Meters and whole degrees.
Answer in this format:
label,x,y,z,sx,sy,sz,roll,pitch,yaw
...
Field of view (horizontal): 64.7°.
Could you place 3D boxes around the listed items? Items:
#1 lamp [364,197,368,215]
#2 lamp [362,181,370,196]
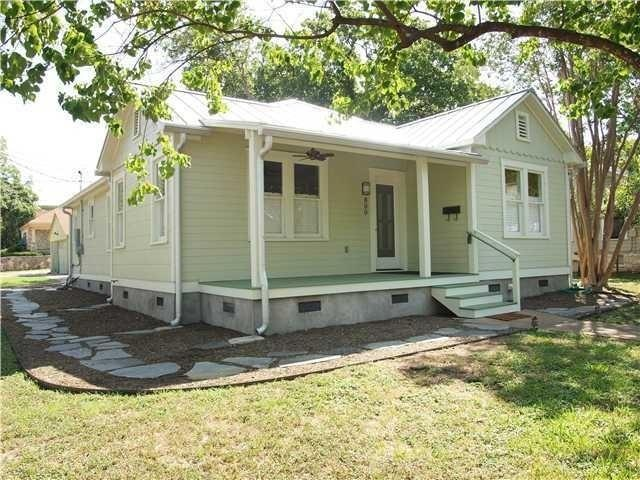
label,x,y,z,sx,sy,sz,roll,pitch,yaw
lamp,1.189,-0.882,13.255,0.193,0.443,0.048,-7,8,-44
lamp,1.188,-1.343,13.268,0.096,0.379,0.301,4,8,43
